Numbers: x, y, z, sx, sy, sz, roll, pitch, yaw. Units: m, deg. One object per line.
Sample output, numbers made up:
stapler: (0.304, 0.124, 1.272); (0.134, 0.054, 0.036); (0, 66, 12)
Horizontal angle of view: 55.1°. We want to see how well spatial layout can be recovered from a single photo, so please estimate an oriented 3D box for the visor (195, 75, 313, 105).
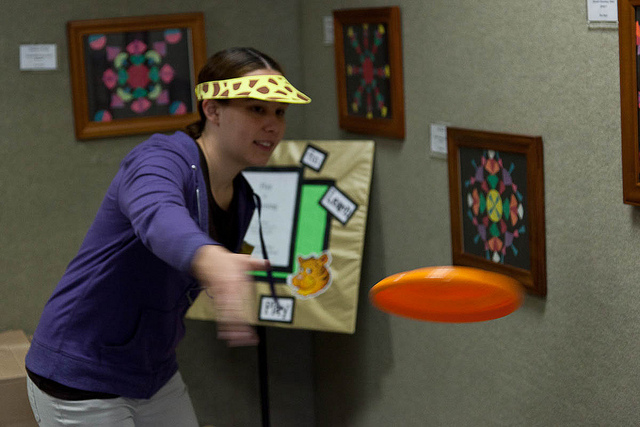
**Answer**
visor: (-0.235, -0.406, 2.031); (0.190, 0.053, 0.182); (-1, 1, 18)
